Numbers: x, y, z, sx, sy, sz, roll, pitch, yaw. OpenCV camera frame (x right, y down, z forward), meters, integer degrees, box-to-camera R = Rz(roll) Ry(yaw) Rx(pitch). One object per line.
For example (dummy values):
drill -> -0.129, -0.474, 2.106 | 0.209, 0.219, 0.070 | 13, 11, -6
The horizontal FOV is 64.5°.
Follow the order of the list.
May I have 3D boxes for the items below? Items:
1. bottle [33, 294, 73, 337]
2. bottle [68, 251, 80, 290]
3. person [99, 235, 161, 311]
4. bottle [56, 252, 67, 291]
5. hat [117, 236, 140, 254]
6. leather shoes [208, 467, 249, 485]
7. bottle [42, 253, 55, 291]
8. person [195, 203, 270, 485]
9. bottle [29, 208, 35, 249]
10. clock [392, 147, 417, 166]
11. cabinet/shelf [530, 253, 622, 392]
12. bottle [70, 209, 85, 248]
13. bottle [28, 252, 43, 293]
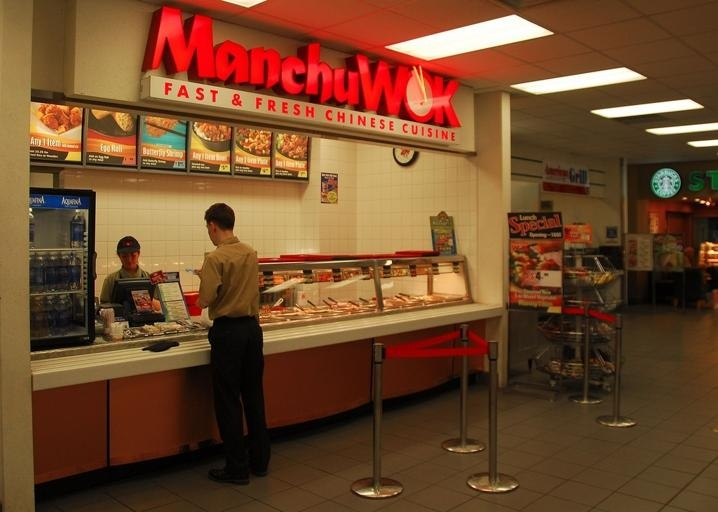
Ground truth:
bottle -> -2.495, 0.476, 4.624 | 0.291, 0.311, 0.111 | -2, 5, -26
bottle -> -2.338, 0.121, 4.688 | 0.096, 0.305, 0.041 | -2, 5, -23
person -> -2.525, 0.244, 6.258 | 0.705, 0.815, 0.569 | 2, -11, -26
bottle -> -2.417, 0.122, 4.644 | 0.100, 0.285, 0.039 | -3, 5, -26
hat -> -2.512, -0.126, 6.212 | 0.198, 0.117, 0.236 | -1, -10, -11
leather shoes -> -1.081, 1.838, 4.796 | 0.353, 0.116, 0.126 | 7, -4, 11
bottle -> -2.530, 0.124, 4.635 | 0.138, 0.303, 0.121 | -1, -2, -6
person -> -1.053, 0.714, 4.812 | 0.548, 2.310, 0.454 | -1, 5, -11
bottle -> -2.654, -0.230, 4.632 | 0.038, 0.310, 0.073 | -2, 5, -24
clock -> 0.649, -1.411, 8.114 | 0.129, 0.278, 0.433 | -5, 6, -42
cabinet/shelf -> 2.669, 0.848, 7.076 | 1.059, 1.677, 1.522 | 1, 5, 19
bottle -> -2.318, -0.229, 4.690 | 0.129, 0.300, 0.029 | -1, 5, -6
bottle -> -2.580, 0.128, 4.563 | 0.096, 0.318, 0.061 | -3, 5, -26
